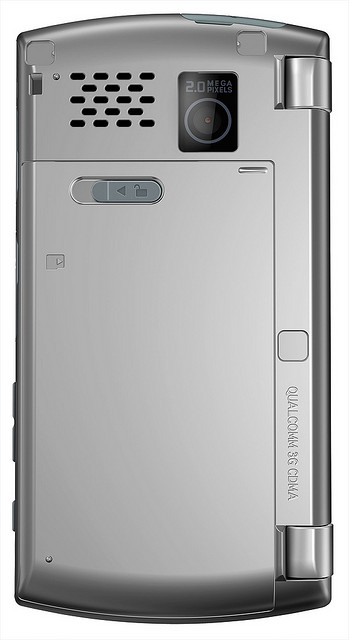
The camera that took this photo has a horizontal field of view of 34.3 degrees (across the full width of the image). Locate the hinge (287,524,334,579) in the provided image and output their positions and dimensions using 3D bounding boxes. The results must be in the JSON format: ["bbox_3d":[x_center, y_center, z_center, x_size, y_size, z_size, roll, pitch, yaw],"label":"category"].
[{"bbox_3d":[0.218,0.374,0.967,0.086,0.107,0.097,1,-6,-6],"label":"hinge"}]
